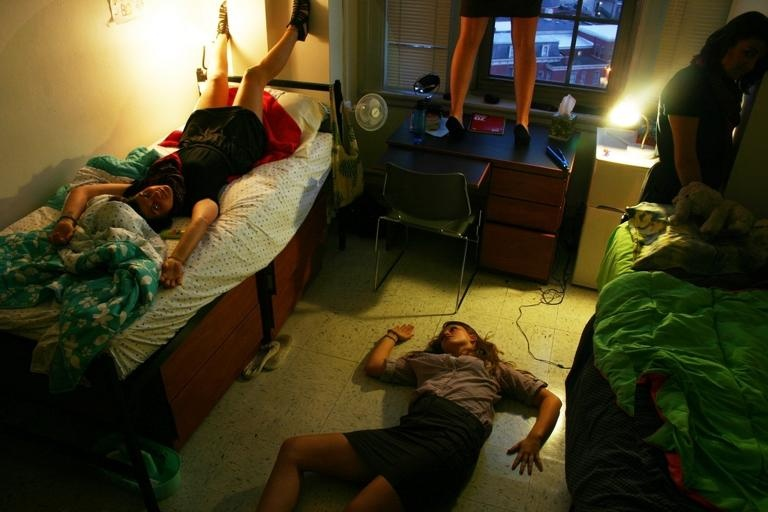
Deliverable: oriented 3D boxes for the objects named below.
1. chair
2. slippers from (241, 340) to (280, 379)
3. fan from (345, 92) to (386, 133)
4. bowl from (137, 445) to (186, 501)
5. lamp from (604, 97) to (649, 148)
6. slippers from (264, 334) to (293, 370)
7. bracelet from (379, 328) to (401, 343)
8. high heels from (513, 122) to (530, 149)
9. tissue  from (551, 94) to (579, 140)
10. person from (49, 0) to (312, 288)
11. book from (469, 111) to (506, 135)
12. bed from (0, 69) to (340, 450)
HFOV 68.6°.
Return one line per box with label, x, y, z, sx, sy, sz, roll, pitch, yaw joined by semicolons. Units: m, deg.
chair;0.292;-0.094;3.800;0.624;0.984;0.707;8;54;10
slippers;-0.709;0.610;3.314;0.113;0.052;0.254;28;55;26
fan;-0.121;-0.967;3.762;0.332;0.248;0.107;3;7;-22
bowl;-1.078;1.050;2.766;0.170;0.241;0.186;4;26;-2
lamp;1.638;-0.886;3.791;0.278;0.268;0.357;20;15;18
slippers;-0.618;0.579;3.374;0.101;0.035;0.187;10;50;13
bracelet;0.055;0.490;3.439;0.076;0.028;0.077;3;34;-5
high heels;0.944;-0.811;3.835;0.095;0.071;0.199;1;33;6
tissue ;1.256;-0.951;3.897;0.190;0.356;0.194;13;43;22
person;-1.042;-0.616;3.559;0.792;0.448;2.218;17;62;9
book;0.752;-0.956;4.078;0.282;0.029;0.212;6;46;14
bed;-1.079;-0.048;3.289;1.078;1.029;2.060;6;35;14
